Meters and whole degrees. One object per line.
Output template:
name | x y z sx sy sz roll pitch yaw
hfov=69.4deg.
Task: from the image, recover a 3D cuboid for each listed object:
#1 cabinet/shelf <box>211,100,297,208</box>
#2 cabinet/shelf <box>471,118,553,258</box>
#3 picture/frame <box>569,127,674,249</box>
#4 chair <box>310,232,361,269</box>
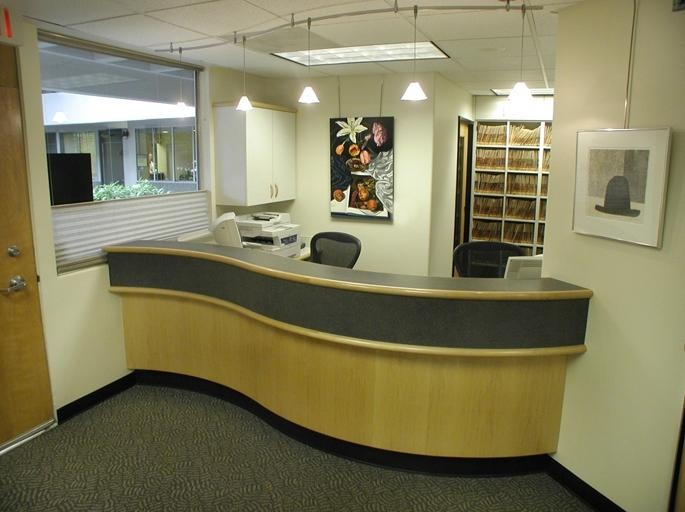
cabinet/shelf | -0.997 -1.192 5.961 0.434 1.124 1.185 6 13 21
cabinet/shelf | 2.594 -1.078 7.734 1.115 2.005 0.375 6 14 25
picture/frame | 1.713 -0.419 2.990 0.085 0.869 0.678 -4 8 -38
chair | -0.037 -0.123 5.149 0.367 0.524 0.426 6 18 16
